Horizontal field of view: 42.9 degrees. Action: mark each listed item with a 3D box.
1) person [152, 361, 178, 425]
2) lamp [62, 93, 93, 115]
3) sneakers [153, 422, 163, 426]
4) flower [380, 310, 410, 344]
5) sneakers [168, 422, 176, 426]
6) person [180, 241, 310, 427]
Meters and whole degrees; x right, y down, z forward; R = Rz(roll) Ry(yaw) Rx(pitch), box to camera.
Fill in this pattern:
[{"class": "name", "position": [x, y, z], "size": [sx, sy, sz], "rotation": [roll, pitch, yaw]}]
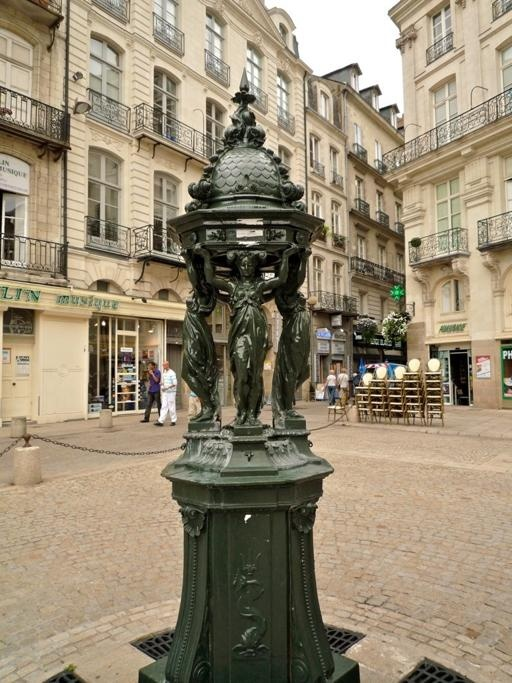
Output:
[{"class": "person", "position": [-2.251, 1.287, 16.403], "size": [0.514, 1.578, 2.456], "rotation": [-1, -4, -8]}, {"class": "lamp", "position": [-4.782, -6.420, 17.686], "size": [0.726, 0.557, 0.465], "rotation": [-4, -6, 3]}, {"class": "sneakers", "position": [-2.324, 1.972, 15.642], "size": [0.082, 0.102, 0.235], "rotation": [0, -16, 16]}, {"class": "flower", "position": [5.760, -0.609, 27.059], "size": [1.132, 1.381, 1.270], "rotation": [1, 0, 23]}, {"class": "sneakers", "position": [-2.037, 2.011, 15.981], "size": [0.061, 0.129, 0.185], "rotation": [-5, -16, 22]}, {"class": "person", "position": [-0.044, -0.036, 3.782], "size": [0.756, 0.989, 0.623], "rotation": [-1, -4, -6]}]
